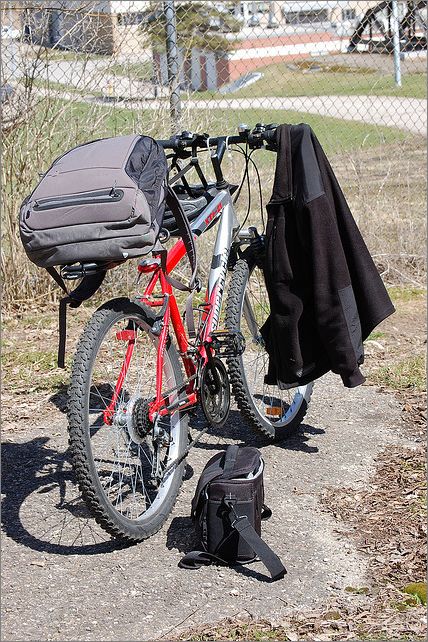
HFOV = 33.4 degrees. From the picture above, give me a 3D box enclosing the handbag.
[{"bbox_3d":[0.104,0.720,2.751,0.389,0.345,0.616,2,5,11],"label":"handbag"}]
